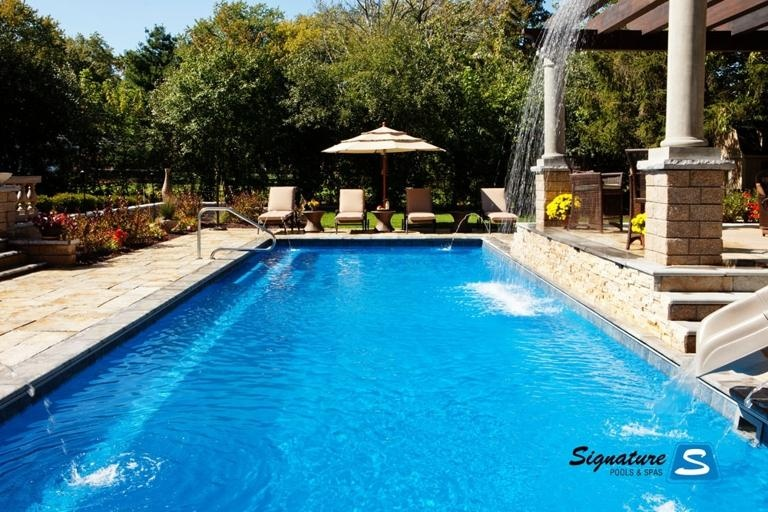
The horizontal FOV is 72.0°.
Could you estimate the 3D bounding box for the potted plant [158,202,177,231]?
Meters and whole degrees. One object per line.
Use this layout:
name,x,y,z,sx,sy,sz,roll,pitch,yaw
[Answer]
potted plant,-5.995,-1.066,14.588,0.419,0.737,1.129,-5,12,-20

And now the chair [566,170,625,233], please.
chair,3.730,-0.921,9.158,0.757,1.051,1.132,-1,11,-3

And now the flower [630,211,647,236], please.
flower,3.570,-0.420,7.431,0.188,0.330,0.744,5,13,25

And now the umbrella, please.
umbrella,0.075,-2.646,16.346,3.684,2.672,5.942,-2,12,-8

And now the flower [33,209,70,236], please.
flower,-6.264,-0.603,9.996,0.551,0.441,0.547,2,5,-17

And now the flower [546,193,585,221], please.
flower,3.447,-0.924,10.062,0.502,0.440,0.489,-7,15,-2
